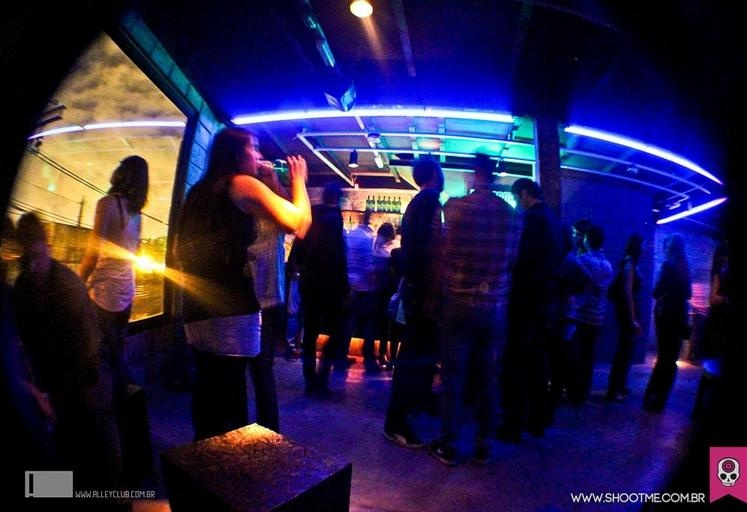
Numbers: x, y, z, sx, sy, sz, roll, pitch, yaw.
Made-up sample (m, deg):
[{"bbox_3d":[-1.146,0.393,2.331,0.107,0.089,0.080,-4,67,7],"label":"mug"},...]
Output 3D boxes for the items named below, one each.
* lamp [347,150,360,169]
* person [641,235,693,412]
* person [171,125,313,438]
[{"bbox_3d":[-0.287,-1.295,6.896,0.207,0.249,0.232,1,-2,15],"label":"lamp"},{"bbox_3d":[2.549,0.526,4.501,0.284,1.388,0.399,2,-4,9],"label":"person"},{"bbox_3d":[-0.890,0.174,3.268,0.716,1.983,0.270,2,-4,16],"label":"person"}]
